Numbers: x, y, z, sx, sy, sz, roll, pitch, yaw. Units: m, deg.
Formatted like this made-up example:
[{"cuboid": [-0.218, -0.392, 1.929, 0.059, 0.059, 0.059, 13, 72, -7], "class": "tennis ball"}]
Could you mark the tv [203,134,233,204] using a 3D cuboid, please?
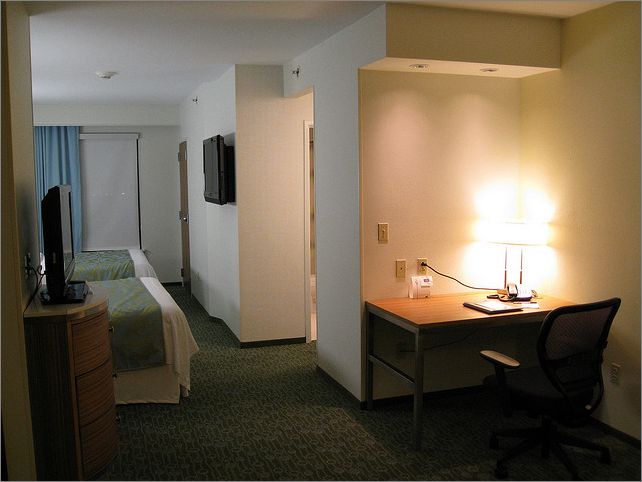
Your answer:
[{"cuboid": [-1.183, -0.829, 5.858, 0.254, 0.765, 0.783, -4, 8, -26], "class": "tv"}]

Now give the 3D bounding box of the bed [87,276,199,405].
[{"cuboid": [-1.494, 0.895, 4.466, 0.962, 0.560, 1.161, -2, 10, -12], "class": "bed"}]

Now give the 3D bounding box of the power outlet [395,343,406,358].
[{"cuboid": [0.685, 0.926, 4.217, 0.101, 0.145, 0.033, -1, 7, -14], "class": "power outlet"}]
